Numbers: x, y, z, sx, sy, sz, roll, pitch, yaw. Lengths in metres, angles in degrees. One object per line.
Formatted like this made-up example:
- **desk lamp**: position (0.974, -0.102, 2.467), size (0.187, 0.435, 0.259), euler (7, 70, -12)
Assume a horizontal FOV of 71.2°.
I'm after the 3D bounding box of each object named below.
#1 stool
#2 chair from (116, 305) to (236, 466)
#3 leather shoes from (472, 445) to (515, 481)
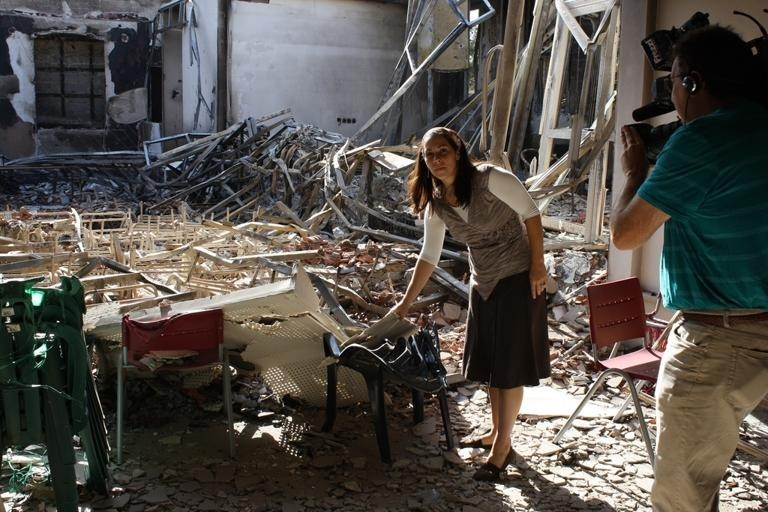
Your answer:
- **stool**: position (0.058, 0.904, 4.014), size (0.931, 0.866, 0.919), euler (6, -6, -42)
- **chair**: position (-1.396, 0.858, 3.936), size (0.996, 1.028, 0.839), euler (-1, -1, -5)
- **leather shoes**: position (0.747, 1.391, 3.626), size (0.309, 0.077, 0.139), euler (-35, 28, -29)
